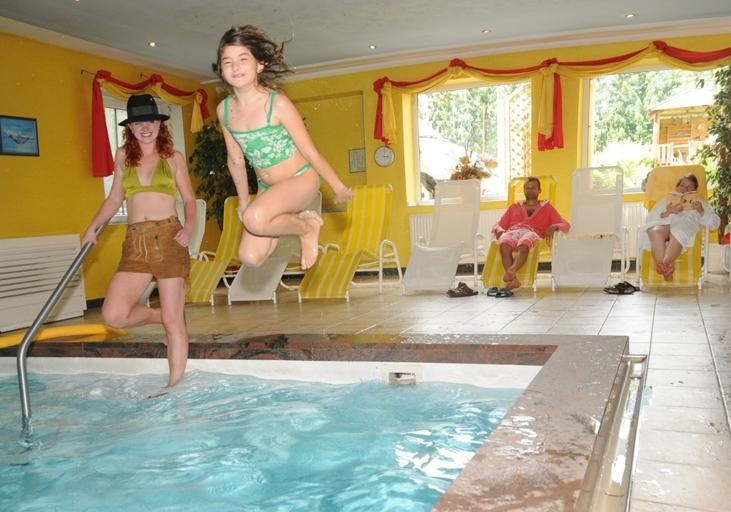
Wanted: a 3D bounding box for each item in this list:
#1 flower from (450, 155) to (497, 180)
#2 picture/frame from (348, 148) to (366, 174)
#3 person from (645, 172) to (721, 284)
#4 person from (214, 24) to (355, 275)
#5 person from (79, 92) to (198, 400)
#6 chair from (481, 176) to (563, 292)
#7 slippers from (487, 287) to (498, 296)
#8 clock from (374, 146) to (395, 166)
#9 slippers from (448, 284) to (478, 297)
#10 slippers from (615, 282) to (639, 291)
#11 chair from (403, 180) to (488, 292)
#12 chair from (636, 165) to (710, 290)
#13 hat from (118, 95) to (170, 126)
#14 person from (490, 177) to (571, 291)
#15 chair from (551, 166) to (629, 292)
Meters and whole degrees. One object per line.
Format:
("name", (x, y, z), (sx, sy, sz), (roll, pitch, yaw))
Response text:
("flower", (1.976, -1.584, 9.123), (0.810, 0.454, 0.771), (-12, 20, -36))
("picture/frame", (-0.141, -1.848, 9.715), (0.533, 0.576, 0.063), (0, 0, 14))
("person", (3.910, -0.375, 6.425), (0.861, 1.255, 0.570), (-7, 8, -5))
("person", (-0.498, -0.600, 2.933), (0.712, 1.390, 0.511), (-6, 8, 2))
("person", (-1.536, -0.097, 3.580), (0.702, 2.023, 0.355), (-9, 8, -19))
("chair", (2.131, -0.364, 6.978), (1.060, 1.016, 1.737), (4, 21, 33))
("slippers", (1.571, 0.438, 6.215), (0.142, 0.086, 0.132), (-4, 7, 13))
("clock", (0.377, -1.887, 9.468), (0.388, 0.369, 0.049), (3, 6, 13))
("slippers", (1.257, 0.427, 6.396), (0.410, 0.164, 0.153), (0, 2, -15))
("slippers", (3.120, 0.365, 6.012), (0.217, 0.075, 0.151), (1, 2, 11))
("chair", (1.105, -0.269, 6.978), (0.934, 1.509, 1.226), (-1, 9, 34))
("chair", (3.973, -0.406, 6.615), (0.936, 1.200, 1.798), (0, 38, 29))
("hat", (-1.525, -1.002, 3.498), (0.291, 0.145, 0.273), (-7, 12, 15))
("person", (2.122, -0.375, 6.913), (1.048, 0.947, 1.659), (6, 25, 29))
("chair", (3.067, -0.388, 6.883), (0.823, 1.621, 1.734), (-2, 8, 31))
